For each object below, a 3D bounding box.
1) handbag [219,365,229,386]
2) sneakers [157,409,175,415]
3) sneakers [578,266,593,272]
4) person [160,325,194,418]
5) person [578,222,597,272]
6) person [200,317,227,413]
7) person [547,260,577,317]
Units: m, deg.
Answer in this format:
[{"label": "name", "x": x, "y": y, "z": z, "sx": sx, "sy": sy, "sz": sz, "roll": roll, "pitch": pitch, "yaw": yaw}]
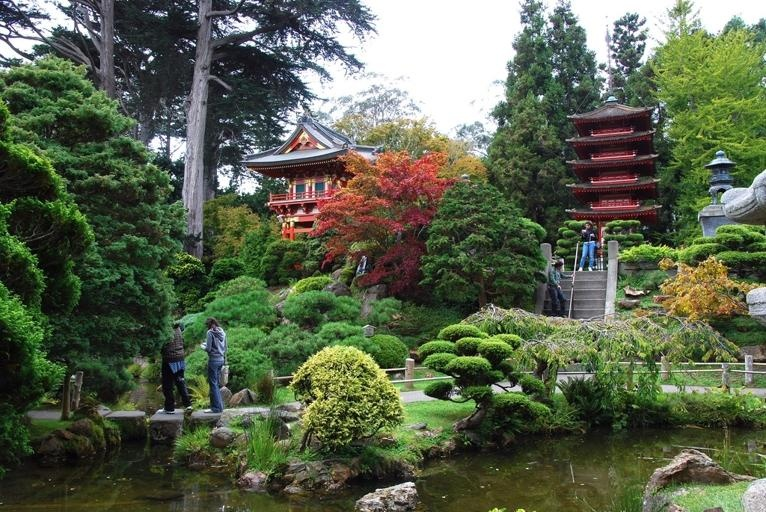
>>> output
[{"label": "handbag", "x": -3.910, "y": 2.894, "z": 15.135, "sx": 0.130, "sy": 0.463, "sz": 0.358, "roll": 3, "pitch": 2, "yaw": 27}, {"label": "sneakers", "x": -4.913, "y": 3.530, "z": 14.184, "sx": 0.427, "sy": 0.098, "sz": 0.299, "roll": 0, "pitch": -6, "yaw": -3}, {"label": "sneakers", "x": 7.643, "y": 0.503, "z": 23.547, "sx": 0.666, "sy": 0.218, "sz": 0.207, "roll": -7, "pitch": 4, "yaw": -30}, {"label": "person", "x": -4.652, "y": 2.561, "z": 14.320, "sx": 0.755, "sy": 2.025, "sz": 0.597, "roll": -2, "pitch": -6, "yaw": 13}, {"label": "person", "x": 7.745, "y": -0.348, "z": 23.661, "sx": 0.624, "sy": 1.863, "sz": 0.855, "roll": -2, "pitch": -6, "yaw": 19}, {"label": "person", "x": -3.744, "y": 2.426, "z": 13.883, "sx": 0.466, "sy": 2.088, "sz": 0.549, "roll": 1, "pitch": -6, "yaw": -16}, {"label": "person", "x": 6.082, "y": 1.190, "z": 21.397, "sx": 0.841, "sy": 2.257, "sz": 1.216, "roll": -8, "pitch": 16, "yaw": 9}]
